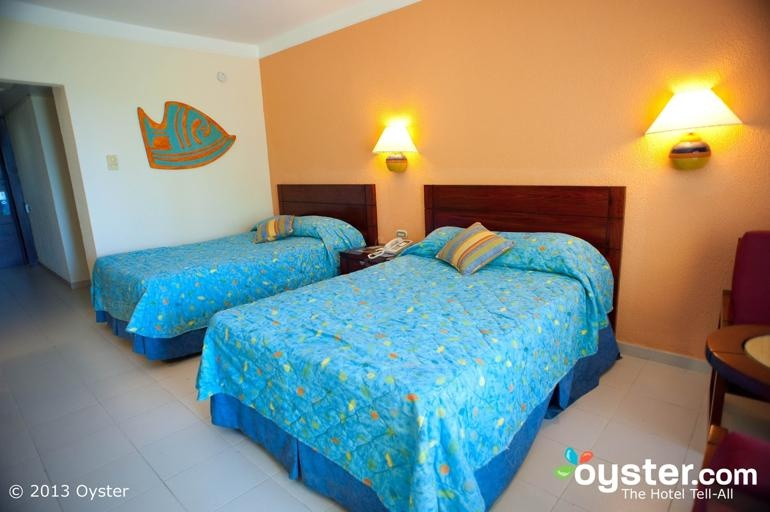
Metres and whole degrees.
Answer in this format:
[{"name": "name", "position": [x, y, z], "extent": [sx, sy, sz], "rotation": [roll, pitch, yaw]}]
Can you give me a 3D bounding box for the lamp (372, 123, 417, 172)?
[{"name": "lamp", "position": [0.124, -1.216, 5.062], "extent": [0.517, 0.559, 0.503], "rotation": [15, 23, 39]}]
